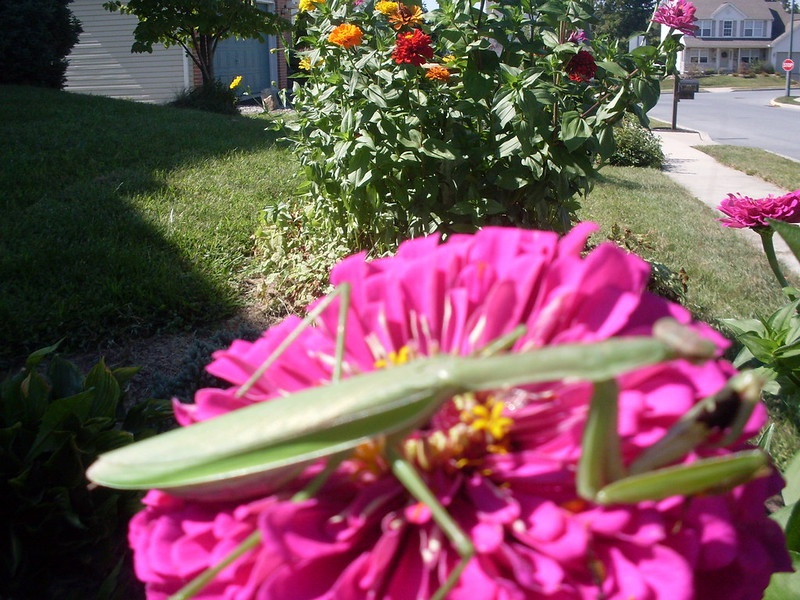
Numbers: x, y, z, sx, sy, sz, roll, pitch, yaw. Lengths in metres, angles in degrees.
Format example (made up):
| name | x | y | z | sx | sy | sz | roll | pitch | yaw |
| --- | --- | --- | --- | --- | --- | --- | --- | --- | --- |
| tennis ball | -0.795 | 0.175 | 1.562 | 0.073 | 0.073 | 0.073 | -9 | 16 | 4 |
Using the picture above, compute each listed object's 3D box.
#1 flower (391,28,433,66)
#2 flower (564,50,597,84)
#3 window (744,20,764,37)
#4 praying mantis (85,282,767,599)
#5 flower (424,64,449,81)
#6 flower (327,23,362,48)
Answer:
| name | x | y | z | sx | sy | sz | roll | pitch | yaw |
| --- | --- | --- | --- | --- | --- | --- | --- | --- | --- |
| flower | 0.054 | -1.217 | 2.764 | 0.174 | 0.076 | 0.180 | 36 | 69 | 29 |
| flower | 0.872 | -1.127 | 2.772 | 0.140 | 0.144 | 0.143 | 2 | 52 | 13 |
| window | 41.798 | -32.232 | 67.543 | 1.823 | 1.508 | 0.146 | -3 | 7 | 0 |
| praying mantis | 0.020 | 0.146 | 0.661 | 0.550 | 0.225 | 0.362 | -3 | 30 | 1 |
| flower | 0.200 | -1.161 | 2.928 | 0.088 | 0.036 | 0.093 | 7 | 36 | -22 |
| flower | -0.294 | -1.373 | 2.968 | 0.159 | 0.116 | 0.230 | -1 | 22 | -8 |
